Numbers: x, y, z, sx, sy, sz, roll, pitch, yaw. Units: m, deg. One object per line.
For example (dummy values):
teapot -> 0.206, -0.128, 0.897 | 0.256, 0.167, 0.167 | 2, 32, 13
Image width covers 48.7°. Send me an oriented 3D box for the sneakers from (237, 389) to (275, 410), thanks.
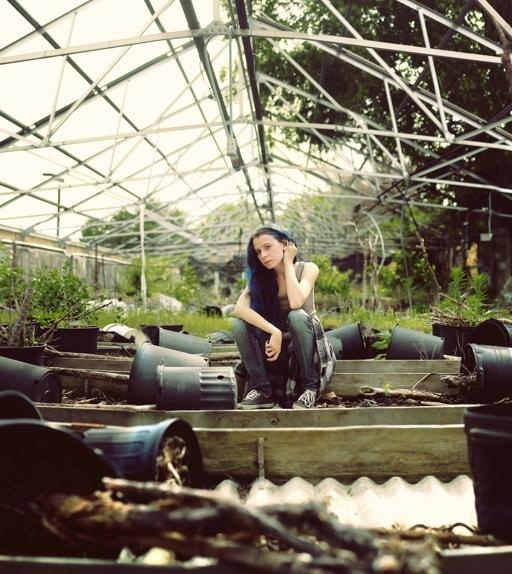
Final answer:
sneakers -> 0.005, 0.551, 2.783 | 0.203, 0.076, 0.073 | 13, -23, -35
